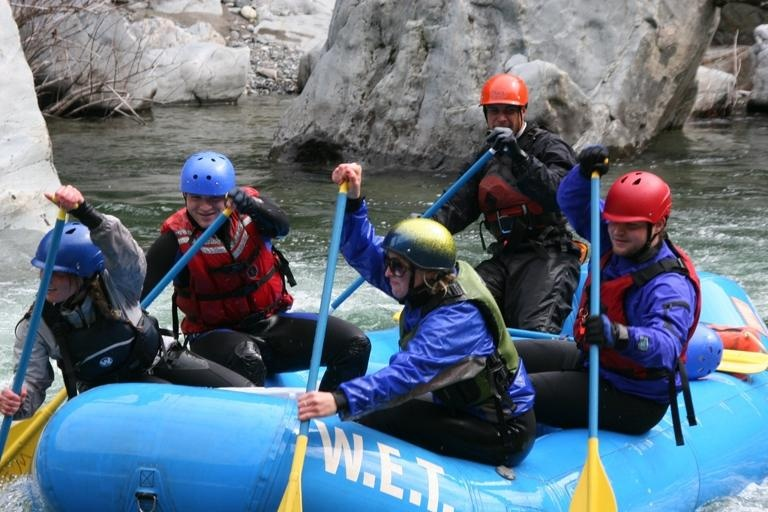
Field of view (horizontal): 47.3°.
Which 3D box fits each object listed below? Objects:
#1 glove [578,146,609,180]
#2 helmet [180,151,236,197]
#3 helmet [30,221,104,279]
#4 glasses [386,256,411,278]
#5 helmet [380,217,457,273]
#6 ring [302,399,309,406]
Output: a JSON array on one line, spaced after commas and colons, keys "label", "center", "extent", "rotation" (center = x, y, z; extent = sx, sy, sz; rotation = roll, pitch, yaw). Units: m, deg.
[{"label": "glove", "center": [1.587, -0.728, 6.769], "extent": [0.199, 0.264, 0.253], "rotation": [7, 52, -6]}, {"label": "helmet", "center": [-1.376, -0.627, 6.950], "extent": [0.313, 0.343, 0.421], "rotation": [2, -6, -2]}, {"label": "helmet", "center": [-2.215, -0.037, 6.237], "extent": [0.485, 0.250, 0.352], "rotation": [11, 15, -47]}, {"label": "glasses", "center": [0.099, 0.065, 6.116], "extent": [0.122, 0.059, 0.152], "rotation": [24, 0, 41]}, {"label": "helmet", "center": [0.251, -0.096, 6.060], "extent": [0.433, 0.344, 0.349], "rotation": [-5, 12, -1]}, {"label": "ring", "center": [-0.517, 0.963, 5.745], "extent": [0.036, 0.012, 0.038], "rotation": [0, 40, 0]}]
